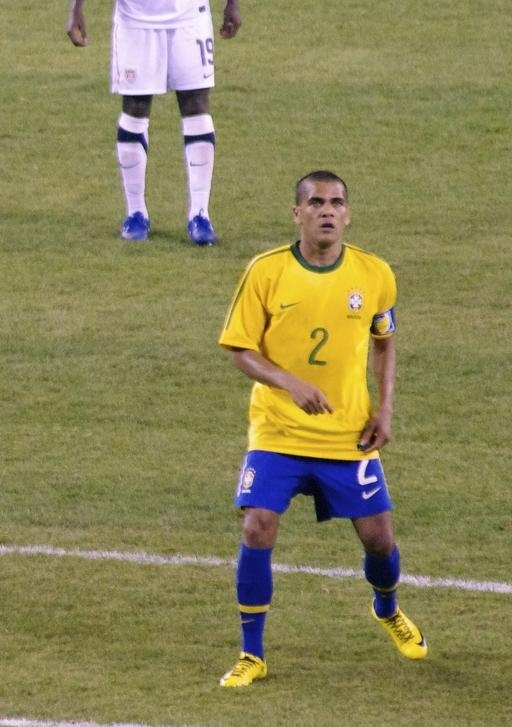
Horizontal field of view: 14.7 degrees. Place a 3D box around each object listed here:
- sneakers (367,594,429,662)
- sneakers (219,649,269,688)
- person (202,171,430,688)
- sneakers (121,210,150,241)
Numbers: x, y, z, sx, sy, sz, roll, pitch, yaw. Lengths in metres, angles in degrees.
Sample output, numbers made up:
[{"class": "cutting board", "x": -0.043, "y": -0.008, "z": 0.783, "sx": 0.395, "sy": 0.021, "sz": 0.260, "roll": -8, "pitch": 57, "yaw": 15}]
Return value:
[{"class": "sneakers", "x": 0.589, "y": 1.104, "z": 8.225, "sx": 0.118, "sy": 0.129, "sz": 0.334, "roll": -36, "pitch": 55, "yaw": 1}, {"class": "sneakers", "x": -0.050, "y": 1.236, "z": 7.926, "sx": 0.097, "sy": 0.128, "sz": 0.207, "roll": 17, "pitch": 18, "yaw": 39}, {"class": "person", "x": 0.277, "y": 0.278, "z": 7.996, "sx": 0.854, "sy": 1.960, "sz": 0.650, "roll": -1, "pitch": 16, "yaw": -5}, {"class": "sneakers", "x": -0.718, "y": -0.799, "z": 11.620, "sx": 0.117, "sy": 0.126, "sz": 0.262, "roll": 0, "pitch": 10, "yaw": -2}]
